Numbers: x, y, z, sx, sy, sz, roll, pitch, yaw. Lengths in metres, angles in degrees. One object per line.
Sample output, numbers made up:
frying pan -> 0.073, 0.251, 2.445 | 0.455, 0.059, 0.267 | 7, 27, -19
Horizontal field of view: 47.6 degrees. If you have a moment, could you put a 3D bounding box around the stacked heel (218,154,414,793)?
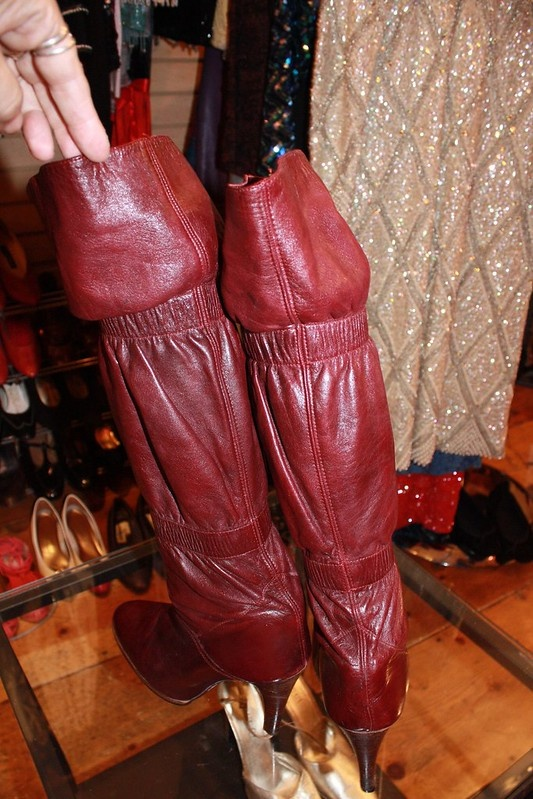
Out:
stacked heel -> 0.071, 0.107, 0.621 | 0.241, 0.646, 0.119 | 28, 39, 36

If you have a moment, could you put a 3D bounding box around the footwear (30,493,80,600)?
footwear -> -0.448, 0.280, 1.277 | 0.086, 0.095, 0.237 | 4, 1, -36

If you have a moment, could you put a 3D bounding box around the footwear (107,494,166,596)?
footwear -> -0.284, 0.313, 1.277 | 0.098, 0.052, 0.203 | -25, 70, -1

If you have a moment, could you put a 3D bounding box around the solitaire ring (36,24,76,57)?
solitaire ring -> -0.162, -0.275, 0.467 | 0.026, 0.013, 0.023 | -20, 1, 35
